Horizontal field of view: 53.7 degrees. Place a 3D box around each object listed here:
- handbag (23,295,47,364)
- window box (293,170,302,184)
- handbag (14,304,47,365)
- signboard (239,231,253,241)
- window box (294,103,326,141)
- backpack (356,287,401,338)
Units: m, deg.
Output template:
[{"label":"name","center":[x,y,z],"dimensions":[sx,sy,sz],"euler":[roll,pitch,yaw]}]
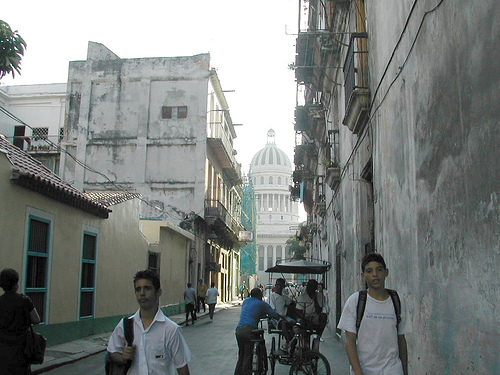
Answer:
[{"label":"handbag","center":[-2.875,1.867,6.622],"dimensions":[0.313,0.833,0.349],"euler":[8,-1,10]},{"label":"window box","center":[3.227,-0.690,33.544],"dimensions":[0.560,0.888,1.965],"euler":[-3,-1,5]},{"label":"handbag","center":[-2.879,1.986,6.601],"dimensions":[0.256,0.755,0.340],"euler":[-3,-9,18]},{"label":"signboard","center":[-0.428,4.837,48.786],"dimensions":[0.550,0.987,2.486],"euler":[-3,-1,29]},{"label":"window box","center":[2.864,-3.251,23.958],"dimensions":[1.101,2.041,1.250],"euler":[0,2,-2]},{"label":"backpack","center":[1.331,1.299,5.262],"dimensions":[0.365,0.664,0.404],"euler":[0,-1,11]}]
